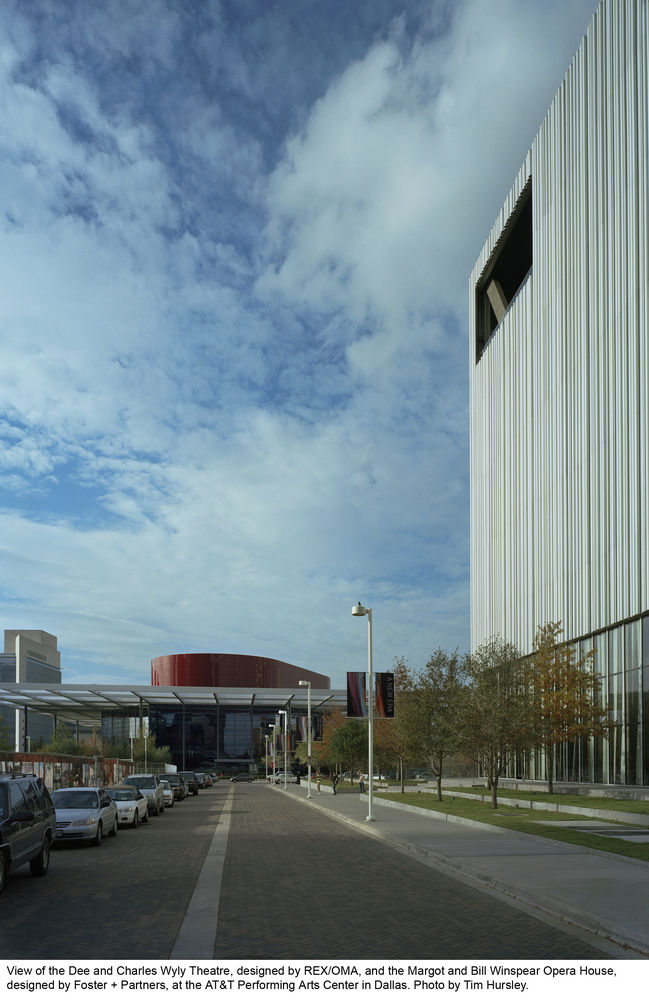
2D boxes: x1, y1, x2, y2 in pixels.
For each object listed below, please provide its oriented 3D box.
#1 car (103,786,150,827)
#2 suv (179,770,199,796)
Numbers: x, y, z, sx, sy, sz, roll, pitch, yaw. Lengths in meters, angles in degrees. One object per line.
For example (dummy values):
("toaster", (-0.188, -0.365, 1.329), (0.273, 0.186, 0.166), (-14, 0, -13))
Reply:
("car", (-6.467, 9.999, 30.209), (1.127, 1.047, 2.672), (0, -14, -2))
("suv", (-9.823, 20.569, 66.691), (1.294, 1.542, 2.629), (1, -6, -8))
